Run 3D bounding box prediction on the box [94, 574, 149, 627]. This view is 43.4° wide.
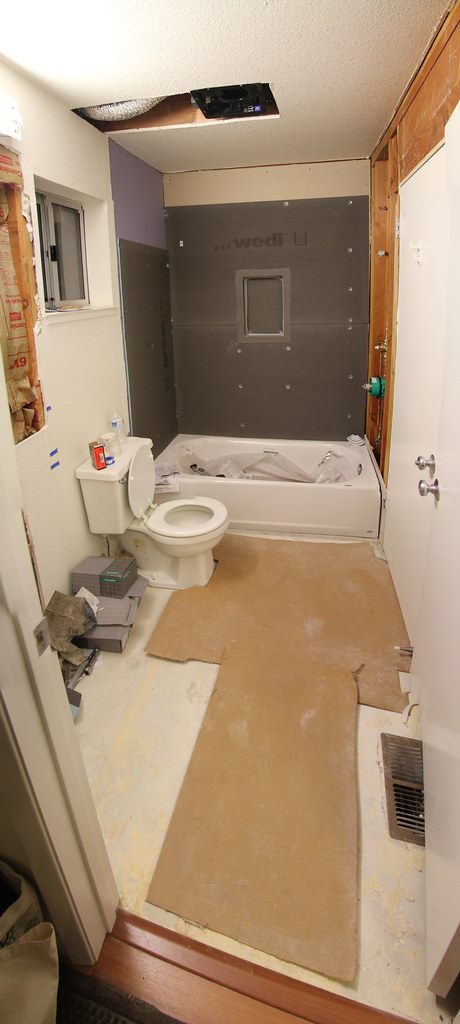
[{"bbox_3d":[-0.501,0.416,2.593,0.189,0.153,0.383,-4,22,5],"label":"box"}]

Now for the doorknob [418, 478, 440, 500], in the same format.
[{"bbox_3d":[0.537,-0.066,1.564,0.039,0.052,0.064,-21,15,-30],"label":"doorknob"}]

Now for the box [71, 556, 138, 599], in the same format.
[{"bbox_3d":[-0.569,0.270,2.585,0.154,0.104,0.190,5,22,9],"label":"box"}]

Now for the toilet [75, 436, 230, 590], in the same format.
[{"bbox_3d":[-0.325,-0.001,2.829,0.490,0.726,0.428,5,32,16],"label":"toilet"}]
